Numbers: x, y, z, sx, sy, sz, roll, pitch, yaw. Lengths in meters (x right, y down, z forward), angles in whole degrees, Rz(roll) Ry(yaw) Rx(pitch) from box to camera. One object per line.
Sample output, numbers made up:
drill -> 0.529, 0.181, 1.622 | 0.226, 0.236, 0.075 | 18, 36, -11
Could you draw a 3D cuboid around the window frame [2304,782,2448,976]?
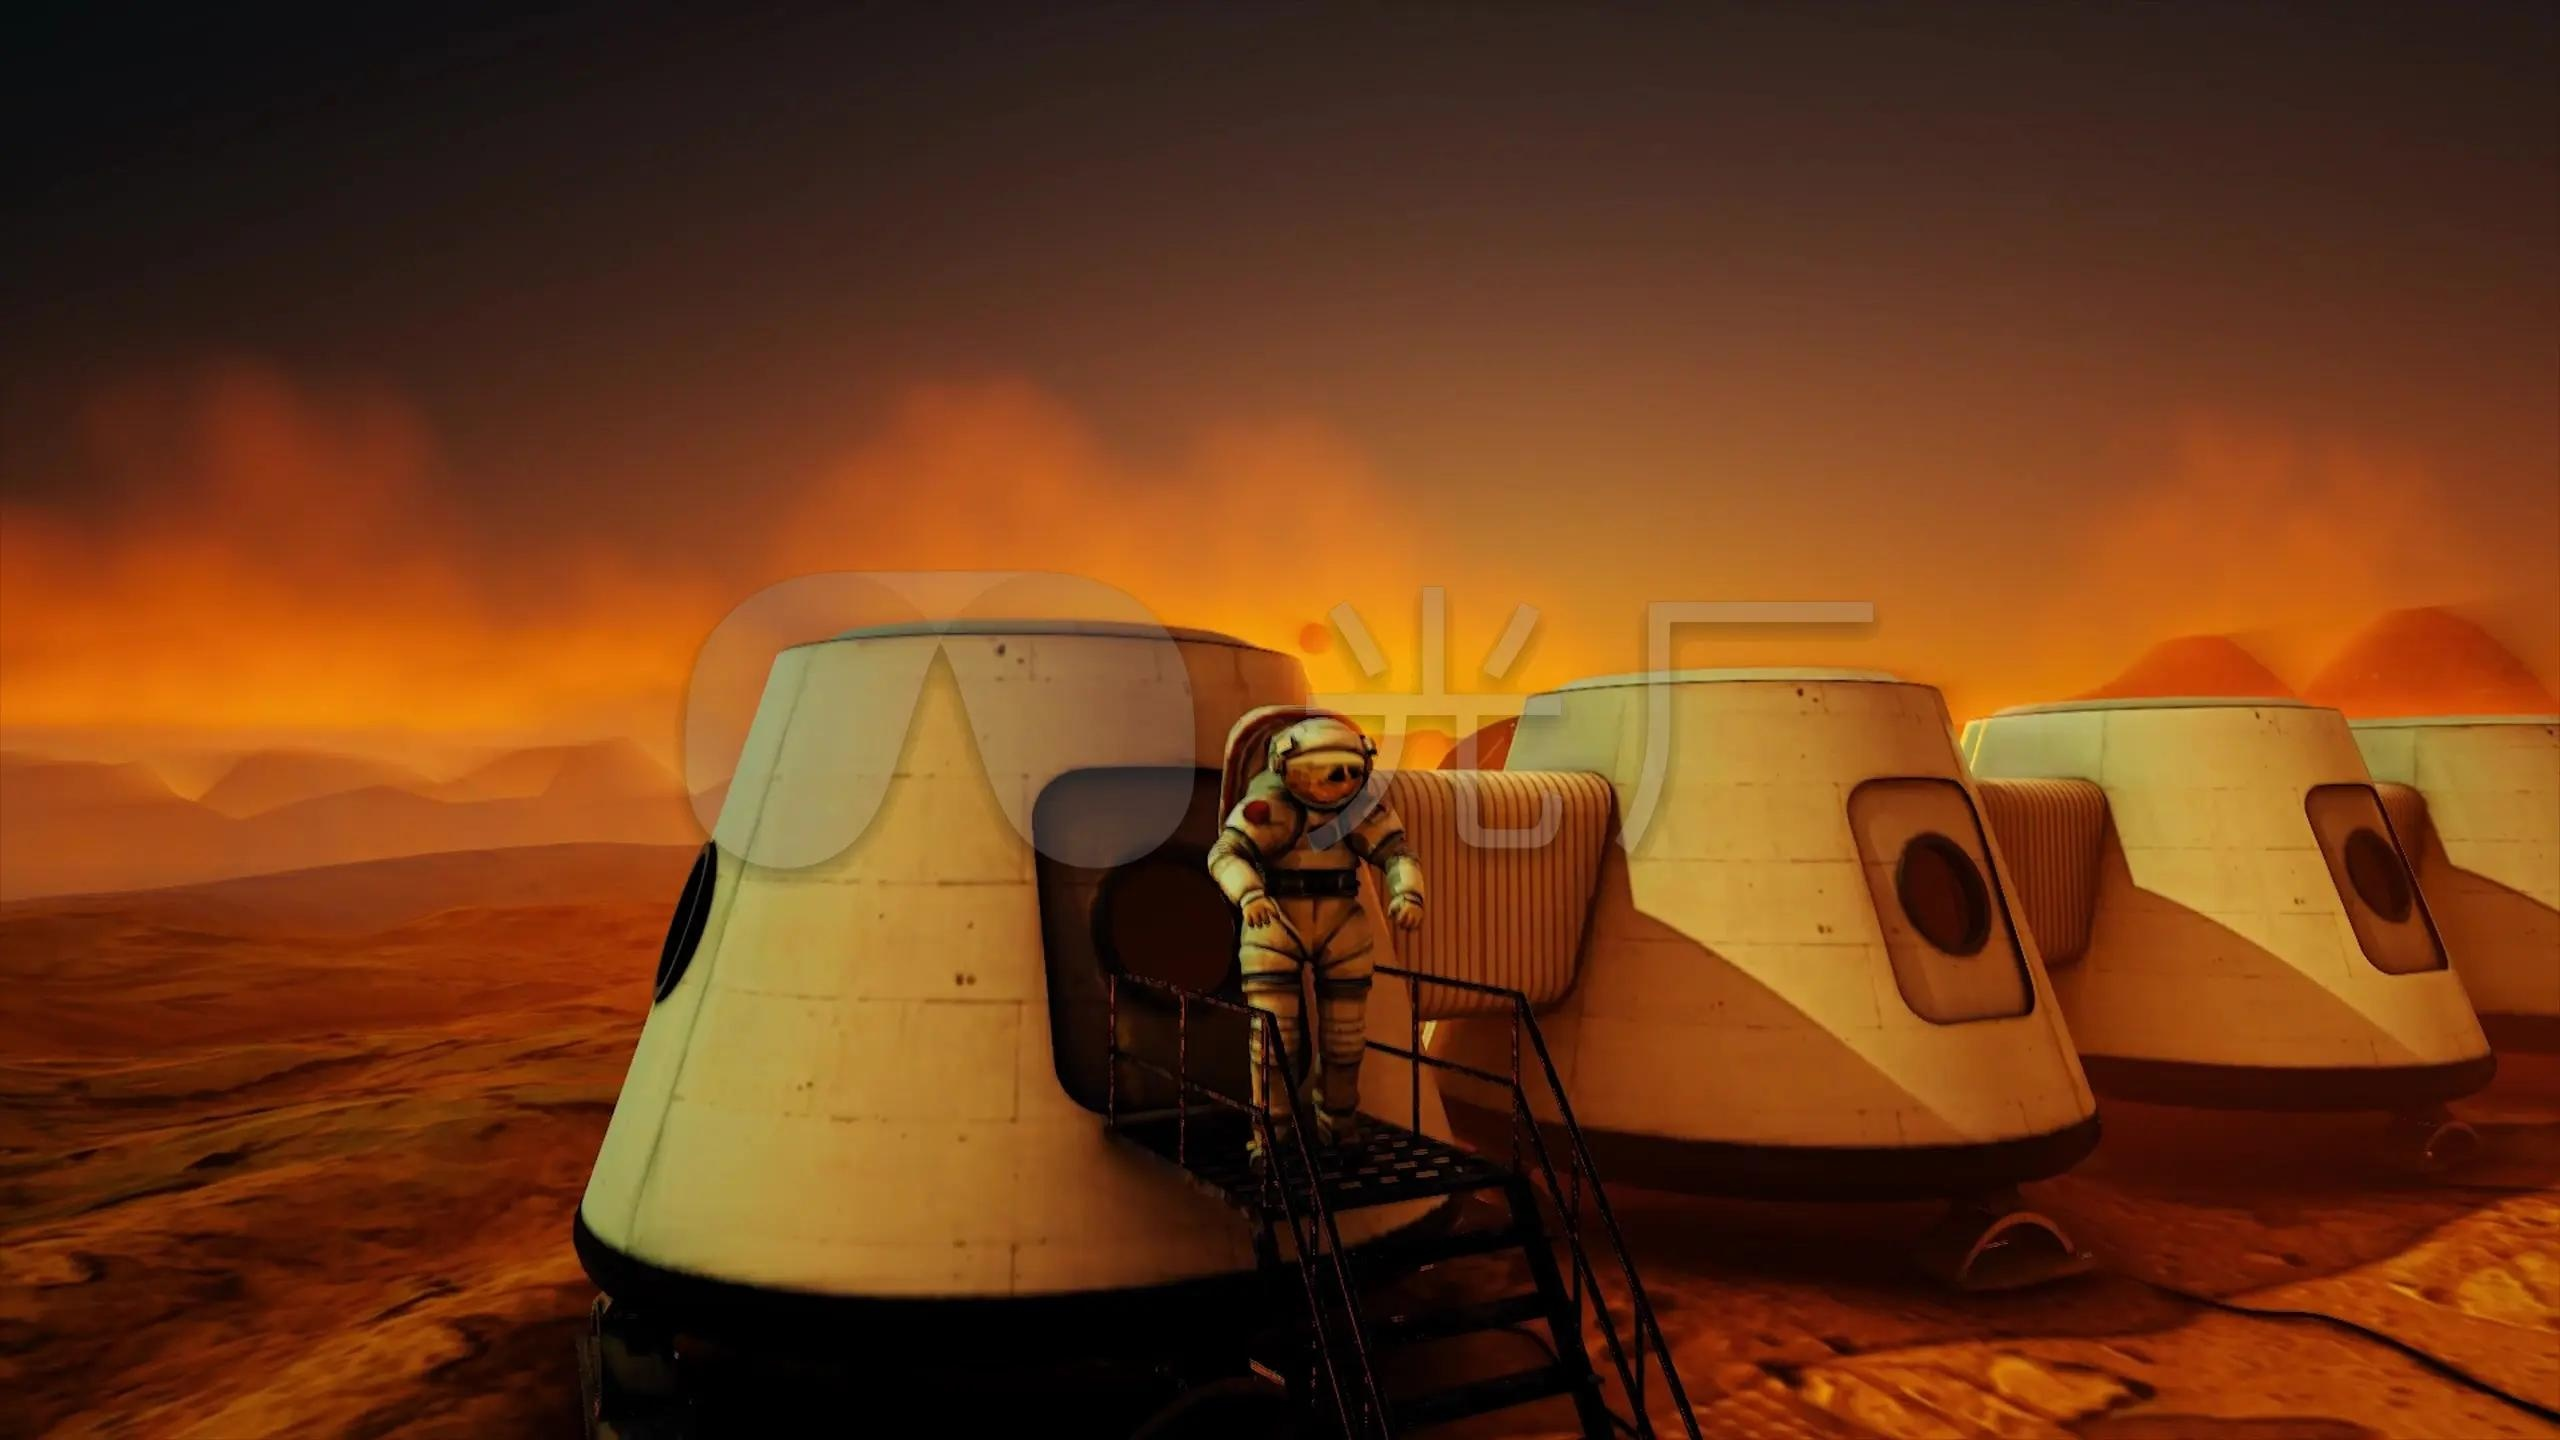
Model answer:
window frame -> 14.734, 2.082, 23.137 | 1.884, 2.689, 0.420 | -7, -11, -23
